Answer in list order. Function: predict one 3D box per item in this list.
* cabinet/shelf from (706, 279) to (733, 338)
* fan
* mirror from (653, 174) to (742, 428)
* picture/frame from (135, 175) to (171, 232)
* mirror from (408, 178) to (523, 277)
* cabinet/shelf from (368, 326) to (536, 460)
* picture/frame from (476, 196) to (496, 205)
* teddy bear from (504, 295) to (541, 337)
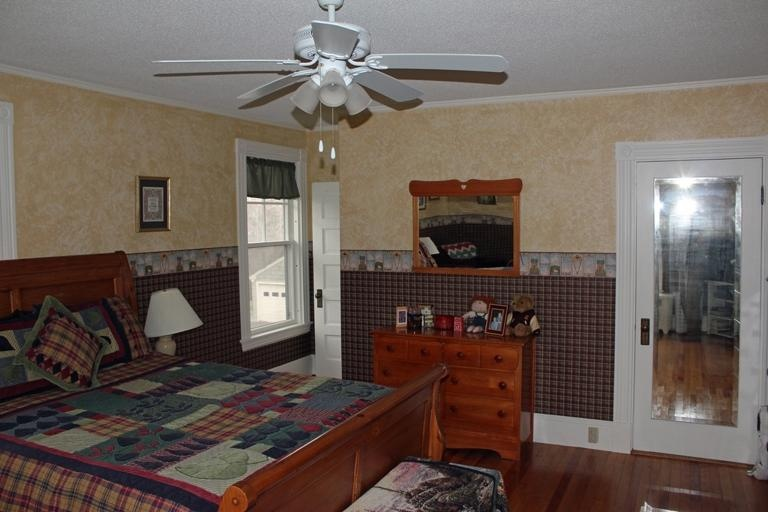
[{"bbox_3d":[3.292,0.513,5.218,0.267,0.513,0.133,7,17,24],"label":"cabinet/shelf"},{"bbox_3d":[-0.294,-1.280,3.415,1.420,0.709,1.416,-6,15,-25],"label":"fan"},{"bbox_3d":[3.063,0.443,5.250,0.874,2.367,0.597,4,16,15],"label":"mirror"},{"bbox_3d":[-2.377,-0.541,5.460,0.121,0.558,0.421,9,17,29],"label":"picture/frame"},{"bbox_3d":[0.935,-0.335,5.817,1.217,0.948,0.091,0,4,13],"label":"mirror"},{"bbox_3d":[0.724,1.298,4.987,1.457,0.982,0.554,-1,-3,19],"label":"cabinet/shelf"},{"bbox_3d":[1.085,-0.557,5.735,0.179,0.157,0.093,1,-1,23],"label":"picture/frame"},{"bbox_3d":[1.407,0.612,5.571,0.321,0.429,0.440,-4,3,-42],"label":"teddy bear"}]
